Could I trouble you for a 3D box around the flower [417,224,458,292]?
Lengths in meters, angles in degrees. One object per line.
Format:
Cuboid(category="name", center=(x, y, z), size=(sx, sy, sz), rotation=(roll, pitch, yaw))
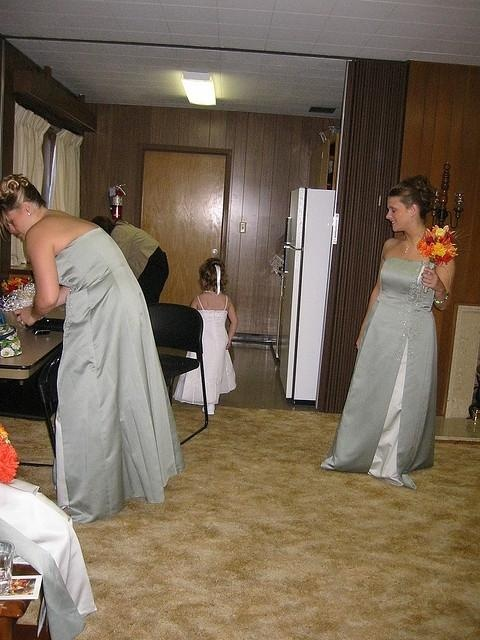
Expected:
Cuboid(category="flower", center=(0.963, -0.361, 2.321), size=(0.168, 0.185, 0.323), rotation=(6, 5, 22))
